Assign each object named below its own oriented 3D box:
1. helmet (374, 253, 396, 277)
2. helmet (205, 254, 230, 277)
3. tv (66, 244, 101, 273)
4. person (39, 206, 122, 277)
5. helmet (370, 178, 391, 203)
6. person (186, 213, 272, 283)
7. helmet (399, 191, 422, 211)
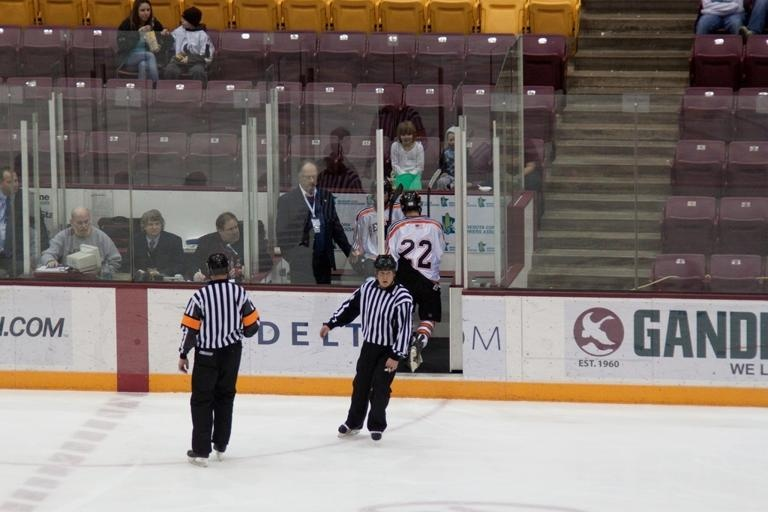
[{"bbox_3d":[0.021,0.076,15.382,0.195,0.186,0.209,1,-13,0],"label":"helmet"},{"bbox_3d":[-1.731,0.072,14.965,0.209,0.218,0.239,-1,15,-4],"label":"helmet"},{"bbox_3d":[-3.508,-0.002,16.928,0.365,0.320,0.371,-3,7,-38],"label":"tv"},{"bbox_3d":[-3.580,-0.188,17.148,1.068,0.830,0.812,-2,21,-8],"label":"person"},{"bbox_3d":[-0.001,-0.759,16.768,0.262,0.280,0.293,-3,-8,6],"label":"helmet"},{"bbox_3d":[-1.796,-0.147,16.515,0.694,0.819,0.485,-6,28,-7],"label":"person"},{"bbox_3d":[0.317,-0.650,16.647,0.210,0.226,0.244,0,-1,2],"label":"helmet"}]
